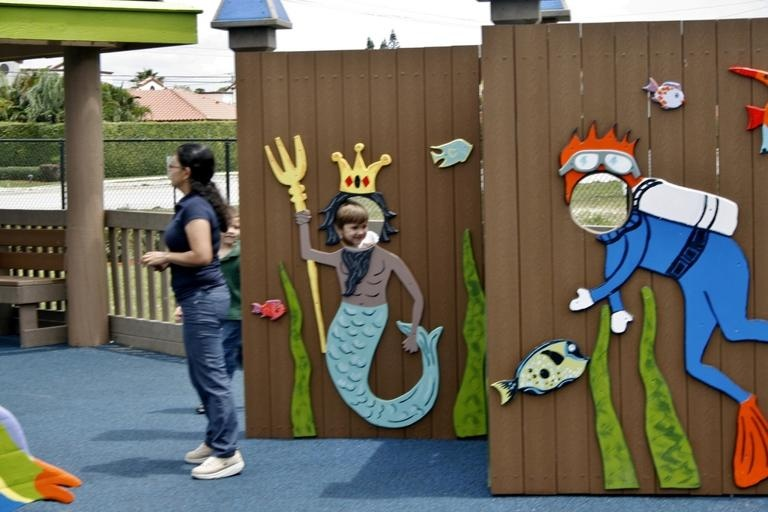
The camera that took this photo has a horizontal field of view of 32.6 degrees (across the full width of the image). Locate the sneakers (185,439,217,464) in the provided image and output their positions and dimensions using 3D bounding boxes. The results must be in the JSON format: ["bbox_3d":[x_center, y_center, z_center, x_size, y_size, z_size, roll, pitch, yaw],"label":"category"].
[{"bbox_3d":[-1.453,1.560,10.320,0.281,0.125,0.125,1,2,-2],"label":"sneakers"}]

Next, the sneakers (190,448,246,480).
[{"bbox_3d":[-1.291,1.628,10.154,0.434,0.201,0.169,1,-4,-16],"label":"sneakers"}]

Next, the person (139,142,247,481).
[{"bbox_3d":[-1.407,0.433,9.982,0.545,2.541,0.335,-3,6,-8],"label":"person"}]
